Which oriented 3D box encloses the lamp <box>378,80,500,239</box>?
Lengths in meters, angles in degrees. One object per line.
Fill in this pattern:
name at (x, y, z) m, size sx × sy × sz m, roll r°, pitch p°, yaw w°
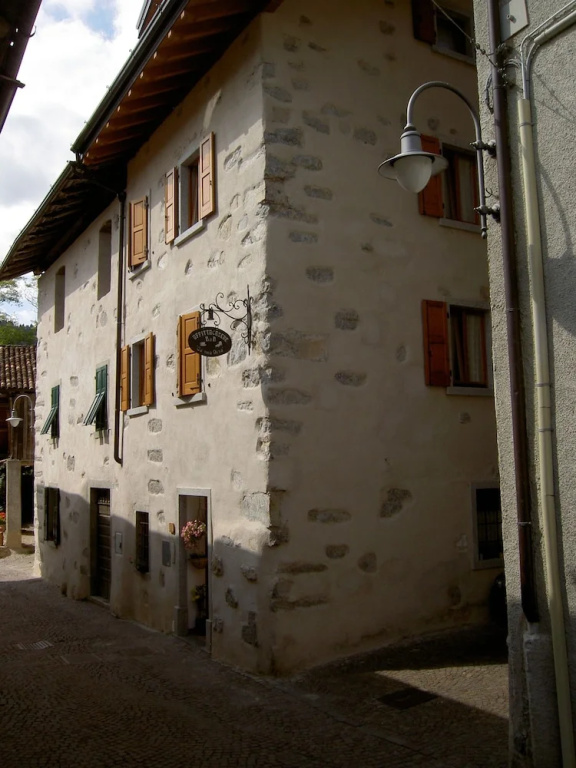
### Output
lamp at (0.903, -1.316, 4.676) m, size 0.679 × 1.014 × 0.364 m, roll -1°, pitch -13°, yaw 3°
